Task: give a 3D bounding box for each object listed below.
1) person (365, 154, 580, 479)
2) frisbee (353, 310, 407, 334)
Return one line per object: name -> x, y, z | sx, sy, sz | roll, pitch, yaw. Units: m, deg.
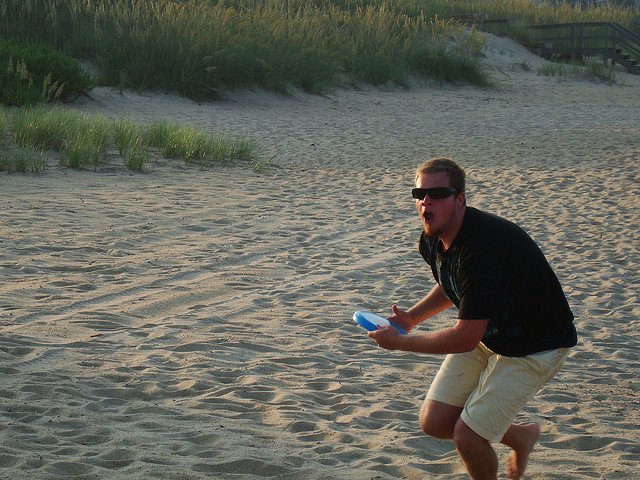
person -> 1.342, 0.681, 8.079 | 1.524, 2.661, 0.553 | 13, 13, 17
frisbee -> 0.525, 0.704, 8.276 | 0.474, 0.164, 0.381 | 5, 9, 1
